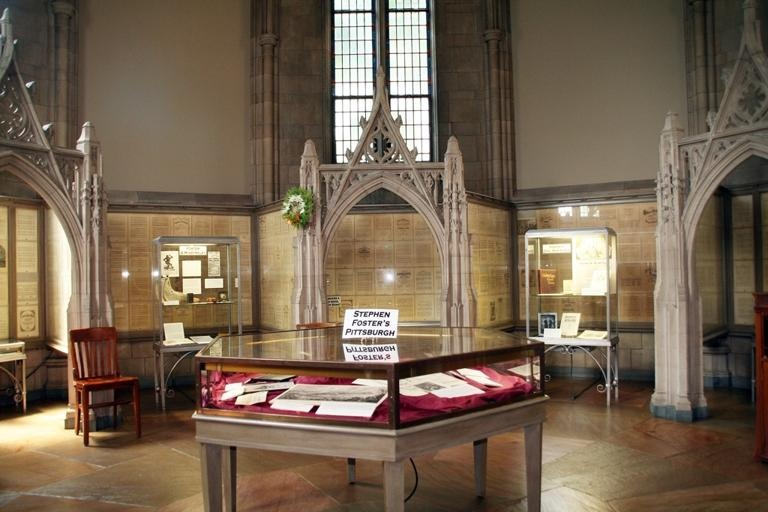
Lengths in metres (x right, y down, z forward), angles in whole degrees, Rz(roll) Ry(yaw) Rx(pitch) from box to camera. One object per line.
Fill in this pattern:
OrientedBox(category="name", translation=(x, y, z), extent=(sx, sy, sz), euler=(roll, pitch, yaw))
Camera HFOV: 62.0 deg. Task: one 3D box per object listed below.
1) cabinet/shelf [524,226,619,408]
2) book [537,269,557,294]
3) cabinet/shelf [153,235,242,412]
OrientedBox(category="cabinet/shelf", translation=(3.416, 1.014, 12.138), extent=(1.707, 3.159, 0.882), euler=(0, 2, -1))
OrientedBox(category="book", translation=(3.060, 0.462, 11.862), extent=(0.471, 0.603, 0.074), euler=(-1, -2, 12))
OrientedBox(category="cabinet/shelf", translation=(-3.374, 1.131, 11.534), extent=(1.451, 2.751, 0.757), euler=(-1, 1, -22))
